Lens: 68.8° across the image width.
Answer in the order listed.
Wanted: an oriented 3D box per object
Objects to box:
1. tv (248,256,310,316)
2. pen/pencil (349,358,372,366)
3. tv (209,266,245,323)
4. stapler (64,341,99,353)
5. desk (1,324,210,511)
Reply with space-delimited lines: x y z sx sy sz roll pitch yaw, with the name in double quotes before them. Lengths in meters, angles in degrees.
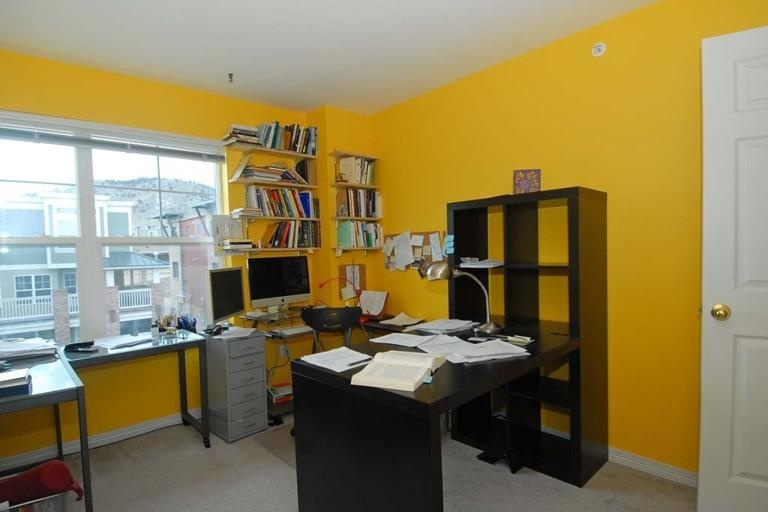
"tv" -1.044 0.246 5.698 0.715 0.490 0.055 -7 0 21
"pen/pencil" -0.162 0.735 3.890 0.201 0.025 0.026 -5 2 -41
"tv" -1.493 0.365 5.324 0.077 0.522 0.579 -3 2 17
"stapler" -2.502 0.760 4.641 0.177 0.049 0.124 2 -2 -13
"desk" -2.188 0.906 4.616 1.181 1.218 2.045 2 4 45
